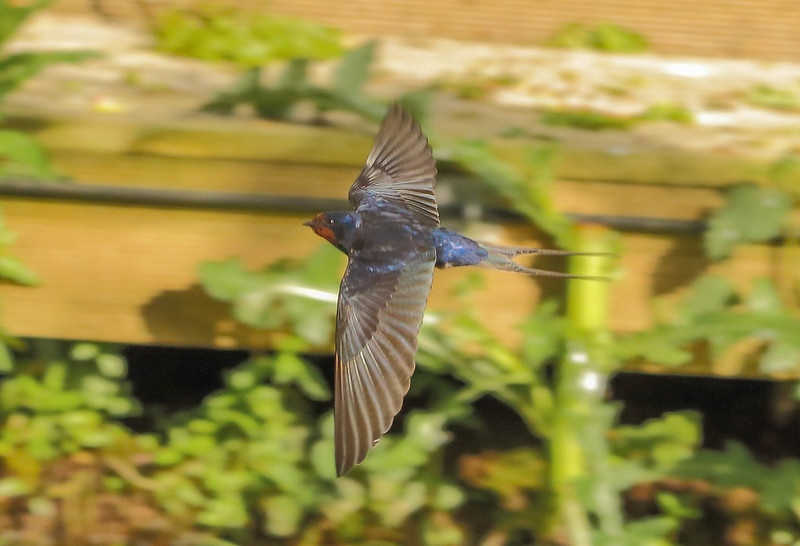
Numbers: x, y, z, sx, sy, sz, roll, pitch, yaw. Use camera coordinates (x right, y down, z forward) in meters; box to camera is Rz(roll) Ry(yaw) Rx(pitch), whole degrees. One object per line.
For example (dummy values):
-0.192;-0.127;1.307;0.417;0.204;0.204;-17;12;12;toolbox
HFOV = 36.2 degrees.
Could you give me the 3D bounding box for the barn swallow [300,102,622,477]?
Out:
0.111;-0.066;3.286;0.805;0.281;0.877;6;89;-40;barn swallow
